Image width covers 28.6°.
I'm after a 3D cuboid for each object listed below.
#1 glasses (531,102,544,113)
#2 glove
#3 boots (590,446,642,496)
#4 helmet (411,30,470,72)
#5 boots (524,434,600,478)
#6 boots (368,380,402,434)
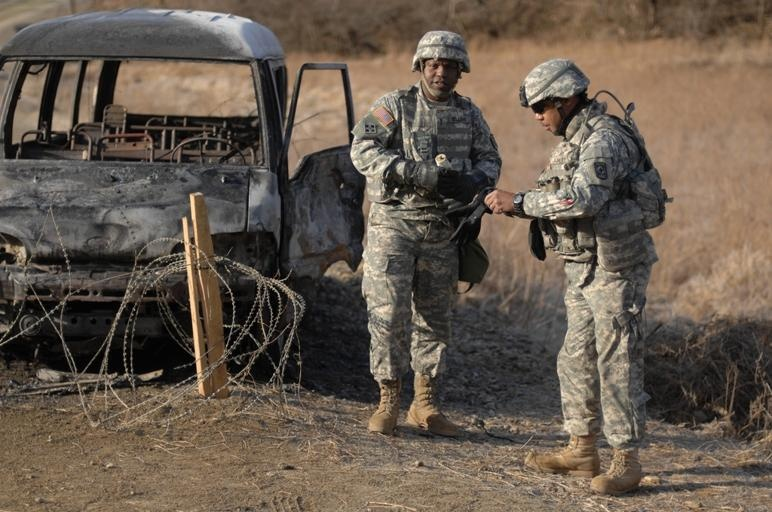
[{"bbox_3d":[1.447,-1.447,14.473,0.084,0.111,0.113,8,-6,15],"label":"glasses"},{"bbox_3d":[0.606,-0.668,14.972,0.794,0.807,0.346,15,22,2],"label":"glove"},{"bbox_3d":[2.205,2.031,14.484,0.621,0.442,0.247,0,1,-38],"label":"boots"},{"bbox_3d":[0.537,-2.117,15.008,0.521,0.333,0.558,7,1,22],"label":"helmet"},{"bbox_3d":[1.678,1.915,14.826,0.740,0.483,0.334,5,2,17],"label":"boots"},{"bbox_3d":[-0.016,1.454,15.037,0.226,0.476,0.683,2,9,15],"label":"boots"}]
